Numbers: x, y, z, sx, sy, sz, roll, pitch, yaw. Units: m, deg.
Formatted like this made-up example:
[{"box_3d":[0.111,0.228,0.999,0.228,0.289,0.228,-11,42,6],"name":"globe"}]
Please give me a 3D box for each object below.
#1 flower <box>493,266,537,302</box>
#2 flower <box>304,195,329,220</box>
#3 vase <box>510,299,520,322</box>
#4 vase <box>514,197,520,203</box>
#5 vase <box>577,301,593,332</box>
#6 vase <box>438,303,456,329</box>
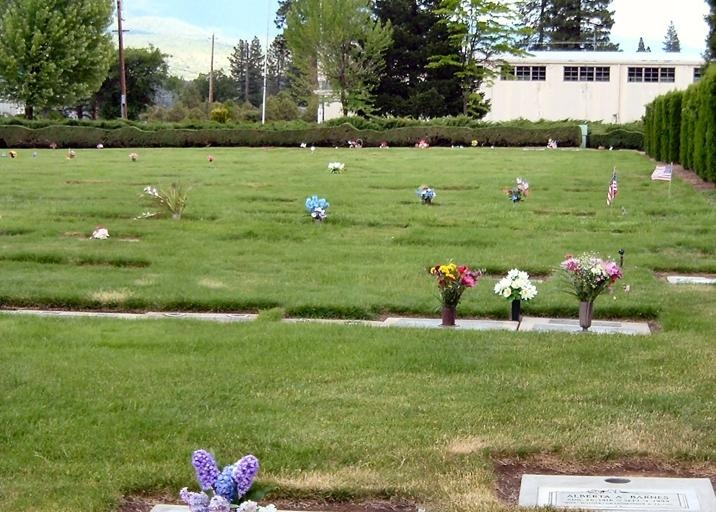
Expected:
[{"box_3d":[4.659,0.900,38.557,0.921,0.912,1.002,1,4,17],"name":"flower"},{"box_3d":[-1.448,-1.642,46.076,0.786,0.608,0.834,0,18,-16],"name":"flower"},{"box_3d":[4.661,1.590,38.673,0.275,0.650,0.627,1,7,5],"name":"vase"},{"box_3d":[5.928,-2.046,48.719,0.431,0.208,0.158,-6,9,-42],"name":"vase"},{"box_3d":[6.576,1.715,37.863,0.370,0.806,0.735,2,7,7],"name":"vase"},{"box_3d":[2.636,1.758,38.131,0.536,0.629,0.472,0,0,36],"name":"vase"}]
